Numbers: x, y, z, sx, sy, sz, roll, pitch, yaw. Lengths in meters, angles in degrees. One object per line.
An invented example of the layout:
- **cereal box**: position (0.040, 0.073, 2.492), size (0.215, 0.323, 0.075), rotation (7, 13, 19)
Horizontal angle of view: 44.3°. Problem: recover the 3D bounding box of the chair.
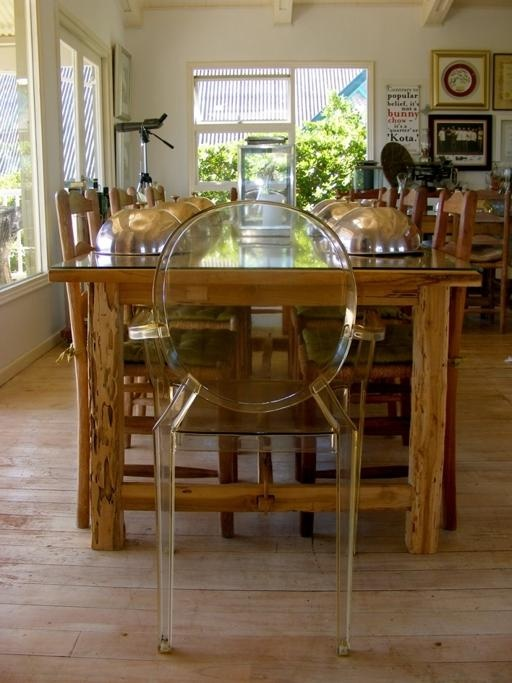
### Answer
- **chair**: position (0.024, 0.127, 1.485), size (1.041, 0.966, 0.827), rotation (-1, 16, -1)
